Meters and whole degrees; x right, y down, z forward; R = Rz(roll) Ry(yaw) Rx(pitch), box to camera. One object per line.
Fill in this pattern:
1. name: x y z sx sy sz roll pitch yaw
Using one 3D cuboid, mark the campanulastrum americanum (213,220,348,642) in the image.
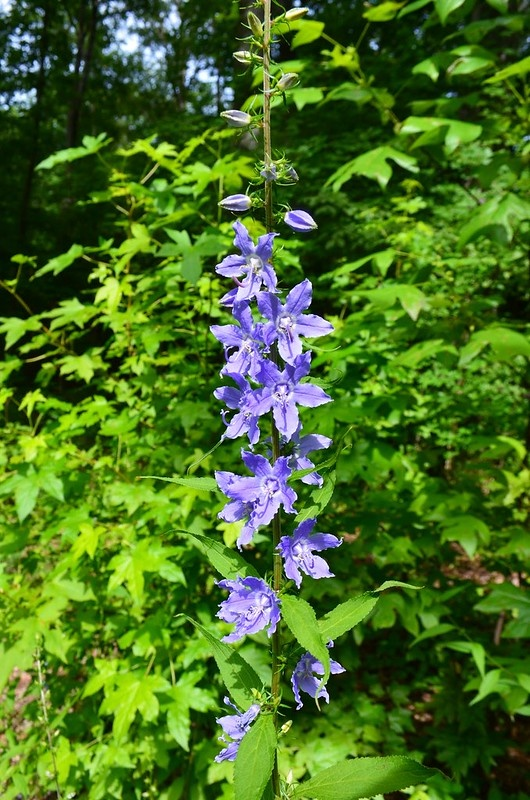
1. campanulastrum americanum: 0.033 0.125 2.344 0.497 1.324 0.346 7 6 -5
